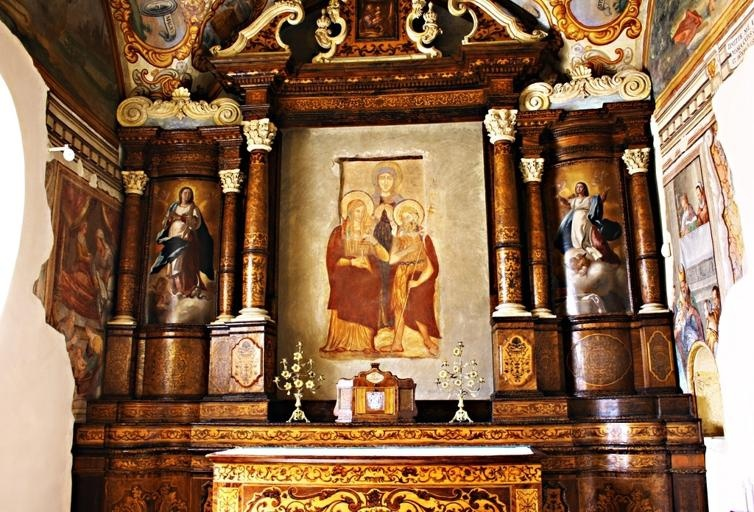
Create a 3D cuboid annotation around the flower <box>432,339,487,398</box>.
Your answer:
[{"bbox_3d":[1.160,1.527,11.285,0.679,0.886,0.720,3,-8,1],"label":"flower"}]
